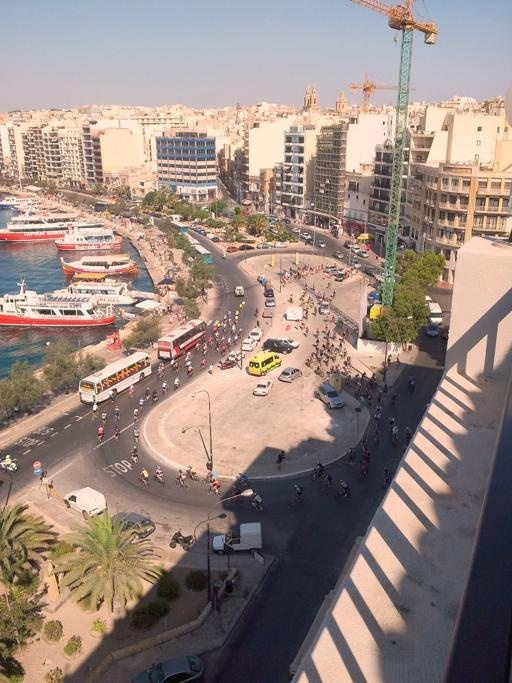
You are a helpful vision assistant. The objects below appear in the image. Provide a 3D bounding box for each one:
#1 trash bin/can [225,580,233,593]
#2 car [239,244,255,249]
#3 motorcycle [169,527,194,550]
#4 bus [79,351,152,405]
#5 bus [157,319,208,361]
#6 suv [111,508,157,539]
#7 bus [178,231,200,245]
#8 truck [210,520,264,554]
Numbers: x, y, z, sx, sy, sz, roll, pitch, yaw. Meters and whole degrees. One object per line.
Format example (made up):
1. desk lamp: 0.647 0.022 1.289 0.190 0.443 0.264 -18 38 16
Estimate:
1. trash bin/can: -1.522 14.050 31.973 0.436 0.631 0.682 2 19 3
2. car: -2.167 -22.796 133.848 3.421 1.341 1.932 -4 7 -30
3. motorcycle: -4.775 12.909 36.344 1.495 0.720 1.569 10 21 26
4. bus: -15.169 3.630 60.835 3.027 2.892 10.166 6 22 24
5. bus: -9.729 -0.765 71.940 2.655 2.873 10.079 9 30 19
6. suv: -7.786 11.676 35.609 2.827 1.013 1.632 32 32 15
7. bus: -15.701 -25.143 135.664 2.742 2.746 10.562 1 9 -4
8. truck: -1.137 12.648 35.726 2.710 1.436 1.629 -3 33 1
